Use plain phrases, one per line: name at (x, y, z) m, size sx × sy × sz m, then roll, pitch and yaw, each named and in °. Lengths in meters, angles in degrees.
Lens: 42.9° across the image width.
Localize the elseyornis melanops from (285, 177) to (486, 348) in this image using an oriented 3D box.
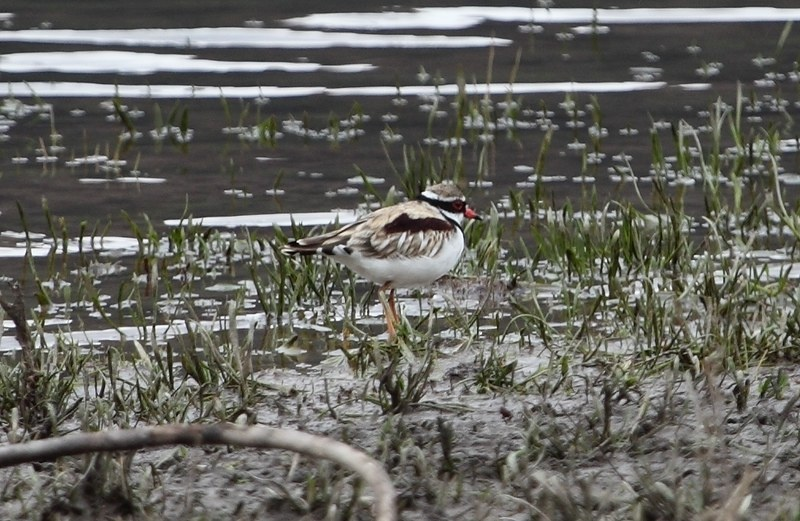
elseyornis melanops at (-0.125, -0.001, 7.823) m, size 1.643 × 1.188 × 0.711 m, roll 1°, pitch -4°, yaw -23°
